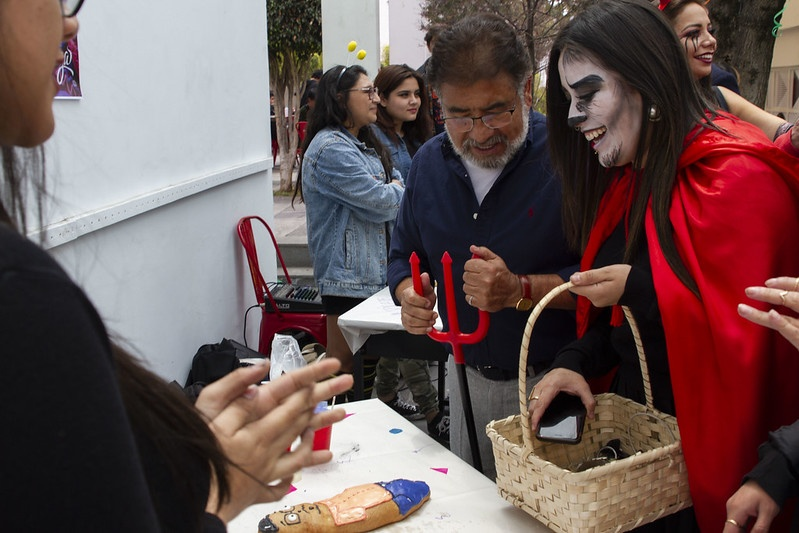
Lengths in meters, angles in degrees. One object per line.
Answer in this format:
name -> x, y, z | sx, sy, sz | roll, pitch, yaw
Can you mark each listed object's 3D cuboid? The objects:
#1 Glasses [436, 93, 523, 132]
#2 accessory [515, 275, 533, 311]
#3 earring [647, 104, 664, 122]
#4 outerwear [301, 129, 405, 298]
Glasses -> 0.300, -0.543, 2.056 | 0.266, 0.089, 0.094 | -3, 14, 5
accessory -> 0.436, 0.105, 1.926 | 0.061, 0.112, 0.109 | 0, 20, 0
earring -> 0.757, -0.451, 1.647 | 0.040, 0.053, 0.042 | 2, -5, 1
outerwear -> -0.298, -0.475, 4.260 | 0.888, 1.584, 1.025 | -2, 12, 0
